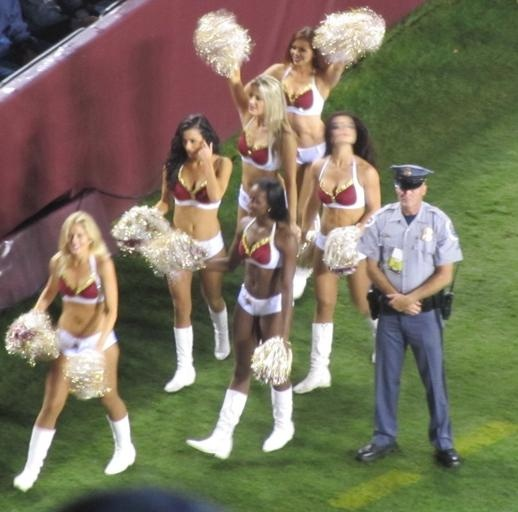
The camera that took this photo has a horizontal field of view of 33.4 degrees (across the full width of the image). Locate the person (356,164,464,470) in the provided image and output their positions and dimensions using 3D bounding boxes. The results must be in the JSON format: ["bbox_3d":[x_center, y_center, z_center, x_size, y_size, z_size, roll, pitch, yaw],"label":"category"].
[{"bbox_3d":[0.934,0.388,5.288,0.620,1.818,0.616,1,21,6],"label":"person"}]

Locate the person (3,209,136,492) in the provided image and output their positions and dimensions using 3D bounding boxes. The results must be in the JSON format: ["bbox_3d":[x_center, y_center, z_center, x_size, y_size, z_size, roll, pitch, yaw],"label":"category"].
[{"bbox_3d":[-1.198,0.612,5.332,0.750,1.674,0.551,-5,21,-10],"label":"person"}]

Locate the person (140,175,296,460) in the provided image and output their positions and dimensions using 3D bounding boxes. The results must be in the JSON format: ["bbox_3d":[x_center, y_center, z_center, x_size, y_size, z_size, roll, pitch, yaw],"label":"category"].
[{"bbox_3d":[-0.067,0.401,5.461,0.634,1.789,0.701,4,21,15],"label":"person"}]

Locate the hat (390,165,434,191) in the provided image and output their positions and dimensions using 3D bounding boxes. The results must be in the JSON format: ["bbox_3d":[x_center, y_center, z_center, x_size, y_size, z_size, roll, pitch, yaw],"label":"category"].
[{"bbox_3d":[0.931,-0.488,5.228,0.214,0.140,0.167,-1,21,1],"label":"hat"}]
